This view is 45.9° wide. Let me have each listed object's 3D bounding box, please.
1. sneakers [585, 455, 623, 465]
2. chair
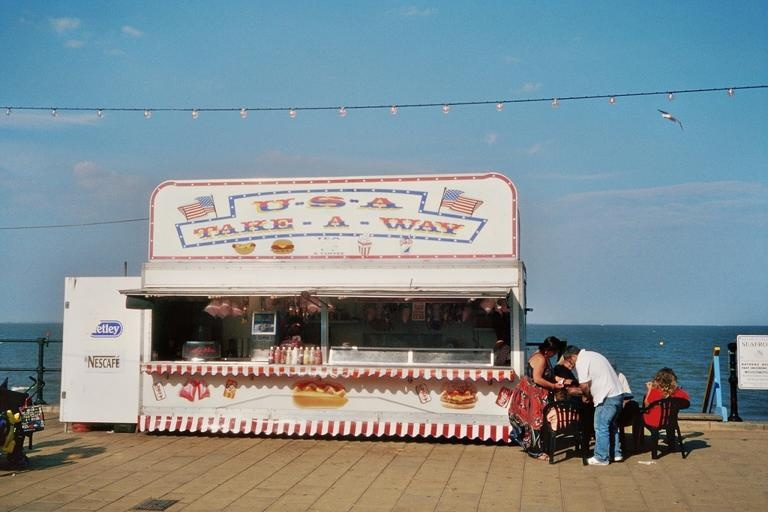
[{"bbox_3d":[4.091,3.774,16.744,0.658,0.264,0.229,4,-5,-9],"label":"sneakers"},{"bbox_3d":[3.957,3.216,17.038,1.835,1.174,1.106,1,12,9],"label":"chair"}]
